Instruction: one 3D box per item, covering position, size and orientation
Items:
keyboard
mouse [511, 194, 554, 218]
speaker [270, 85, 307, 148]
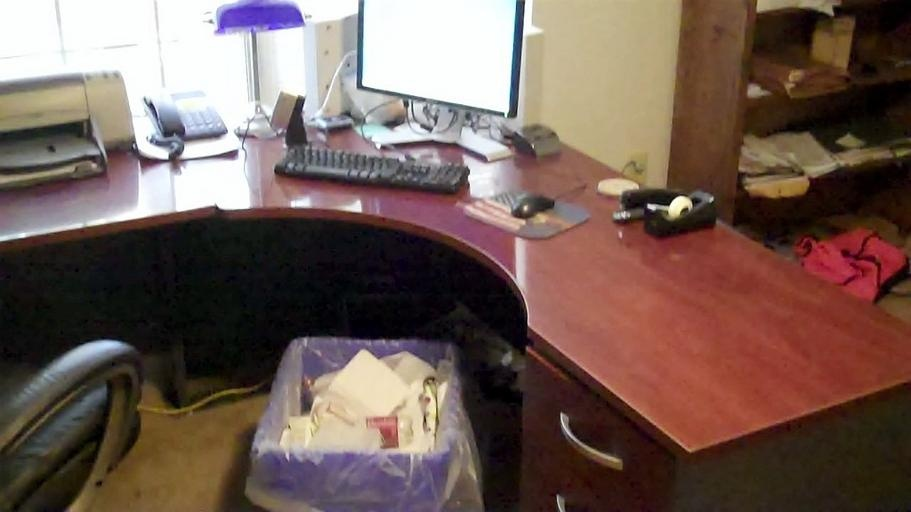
[{"bbox_3d":[-0.337,-0.338,2.581,0.914,0.152,0.487,0,-1,-19],"label":"keyboard"},{"bbox_3d":[0.275,-0.180,2.409,0.136,0.048,0.078,-20,36,-26],"label":"mouse"},{"bbox_3d":[-0.713,-0.589,2.848,0.140,0.246,0.250,-10,36,-34],"label":"speaker"}]
